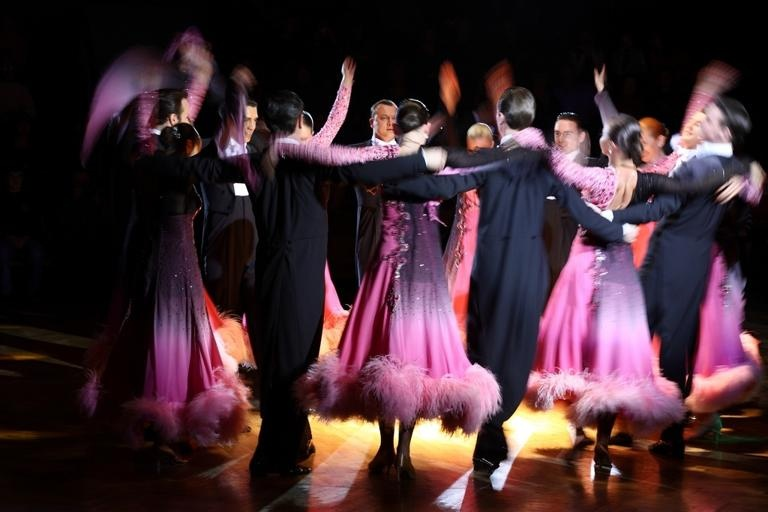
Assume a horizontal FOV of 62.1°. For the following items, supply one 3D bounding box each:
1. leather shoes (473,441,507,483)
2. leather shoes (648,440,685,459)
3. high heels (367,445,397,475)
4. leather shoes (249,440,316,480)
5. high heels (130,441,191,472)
[{"bbox_3d":[0.647,1.251,3.970,0.201,0.165,0.347,5,11,23],"label":"leather shoes"},{"bbox_3d":[1.893,1.285,4.289,0.248,0.106,0.092,1,1,33],"label":"leather shoes"},{"bbox_3d":[-0.013,1.243,3.899,0.166,0.158,0.143,0,11,-3],"label":"high heels"},{"bbox_3d":[-0.603,1.248,3.931,0.443,0.177,0.142,-4,4,-19],"label":"leather shoes"},{"bbox_3d":[-1.437,1.266,4.015,0.278,0.095,0.192,3,-2,10],"label":"high heels"}]
